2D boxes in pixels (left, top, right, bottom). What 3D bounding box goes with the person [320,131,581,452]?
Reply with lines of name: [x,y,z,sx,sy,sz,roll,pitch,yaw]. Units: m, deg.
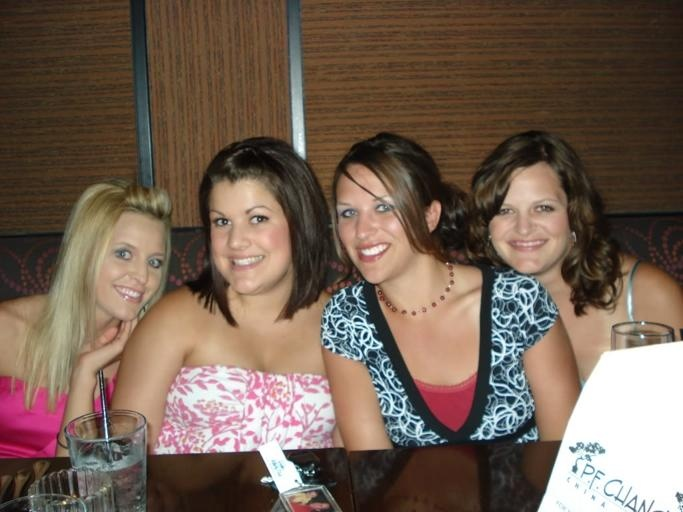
person: [0.411,0.118,2.538,1.013,1.303,0.457,-4,5,1]

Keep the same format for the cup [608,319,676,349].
cup: [0.862,0.202,1.730,0.115,0.124,0.129,-1,-6,-1]
